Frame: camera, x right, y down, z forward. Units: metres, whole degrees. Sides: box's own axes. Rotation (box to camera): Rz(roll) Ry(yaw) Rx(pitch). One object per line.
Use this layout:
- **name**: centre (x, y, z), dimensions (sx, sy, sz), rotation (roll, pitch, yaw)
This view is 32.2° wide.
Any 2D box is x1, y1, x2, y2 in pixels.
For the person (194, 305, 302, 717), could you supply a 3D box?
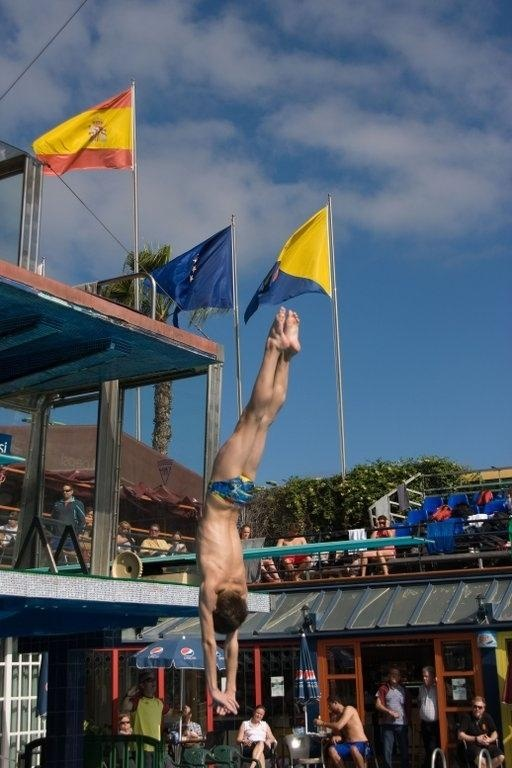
- **person**: centre (-0.090, 0.879, 5.928), dimensions (0.596, 2.582, 1.162), rotation (2, -15, -23)

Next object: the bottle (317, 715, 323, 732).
- **bottle**: centre (1.149, 5.950, 15.484), dimensions (0.118, 0.214, 0.395), rotation (1, -10, -6)

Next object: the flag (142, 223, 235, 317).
- **flag**: centre (-1.353, -2.844, 21.268), dimensions (1.705, 2.100, 0.965), rotation (-4, -14, -2)
